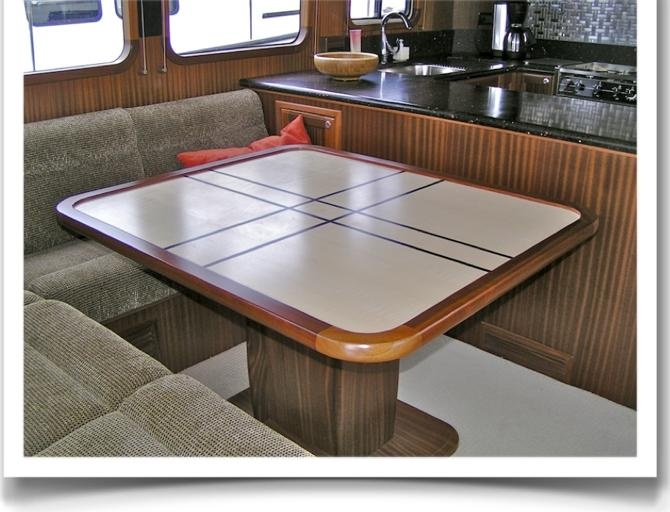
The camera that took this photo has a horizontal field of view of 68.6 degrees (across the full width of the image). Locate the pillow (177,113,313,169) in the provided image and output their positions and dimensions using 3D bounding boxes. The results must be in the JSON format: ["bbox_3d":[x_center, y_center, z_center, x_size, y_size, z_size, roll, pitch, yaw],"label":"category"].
[{"bbox_3d":[-0.480,-0.650,2.862,0.931,0.235,0.289,-9,31,-17],"label":"pillow"}]

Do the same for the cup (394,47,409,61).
[{"bbox_3d":[0.563,-1.748,4.259,0.129,0.136,0.080,11,40,19],"label":"cup"}]

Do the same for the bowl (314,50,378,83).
[{"bbox_3d":[0.062,-1.278,3.317,0.407,0.176,0.352,-1,22,-1],"label":"bowl"}]
